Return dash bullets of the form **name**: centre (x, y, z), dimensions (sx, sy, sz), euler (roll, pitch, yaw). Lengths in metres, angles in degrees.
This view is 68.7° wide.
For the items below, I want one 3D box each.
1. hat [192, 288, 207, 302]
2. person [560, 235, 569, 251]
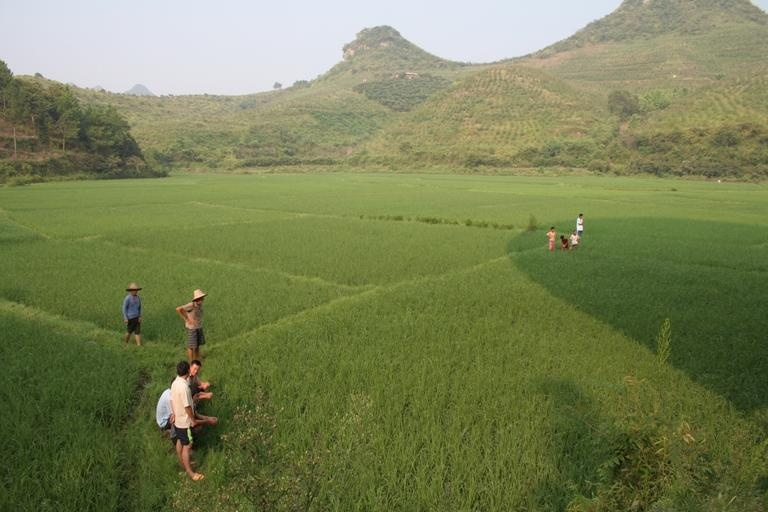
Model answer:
- **hat**: centre (-8.814, 1.860, 26.792), dimensions (0.665, 0.369, 0.695), euler (-20, -10, -10)
- **person**: centre (12.515, -0.929, 38.676), dimensions (0.477, 1.055, 1.276), euler (5, 20, 16)
